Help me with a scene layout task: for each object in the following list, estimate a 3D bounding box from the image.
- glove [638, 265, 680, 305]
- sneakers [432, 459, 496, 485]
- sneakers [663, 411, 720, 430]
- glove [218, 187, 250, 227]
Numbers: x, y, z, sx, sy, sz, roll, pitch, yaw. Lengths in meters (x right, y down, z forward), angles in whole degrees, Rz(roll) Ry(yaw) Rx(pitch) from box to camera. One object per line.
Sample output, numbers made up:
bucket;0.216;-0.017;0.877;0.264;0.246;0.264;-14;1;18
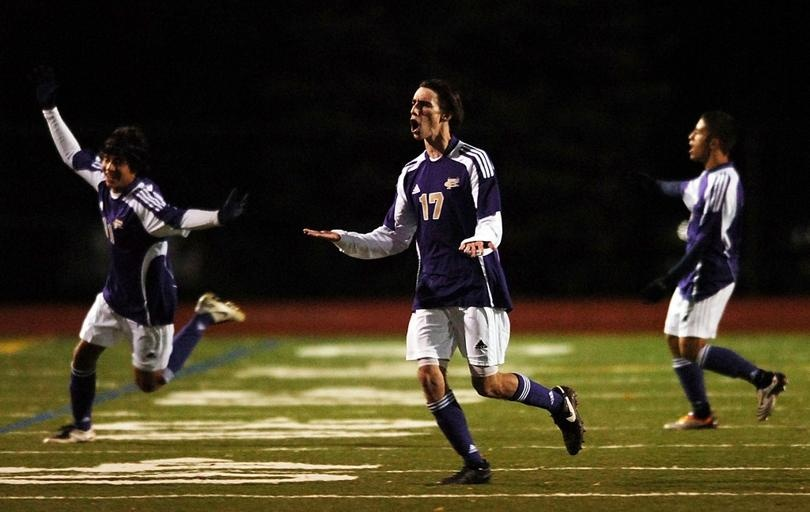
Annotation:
glove;3.226;0.398;15.147;0.411;0.444;0.482;0;5;18
sneakers;0.730;2.690;14.791;0.754;0.251;0.245;-5;-10;0
sneakers;3.892;2.240;16.246;0.777;0.227;0.246;0;-6;3
glove;-2.198;-0.628;15.366;0.360;0.453;0.871;-2;5;-6
